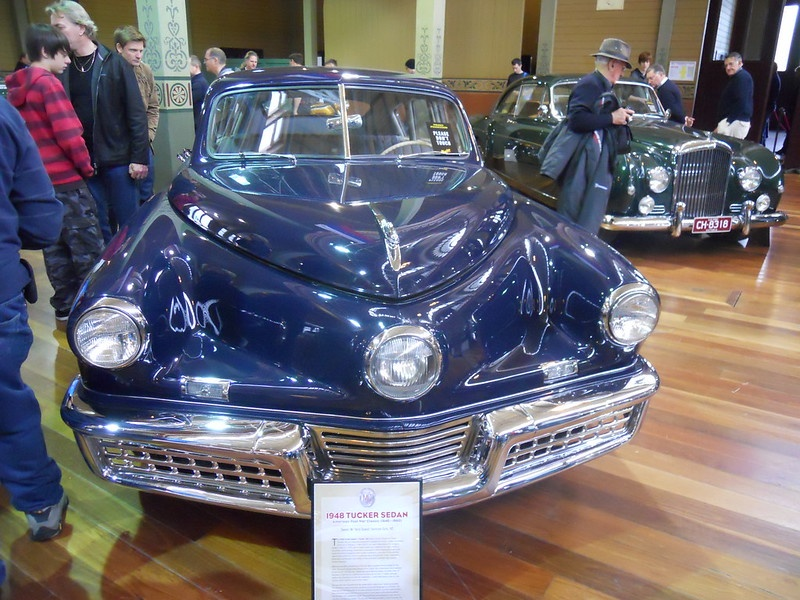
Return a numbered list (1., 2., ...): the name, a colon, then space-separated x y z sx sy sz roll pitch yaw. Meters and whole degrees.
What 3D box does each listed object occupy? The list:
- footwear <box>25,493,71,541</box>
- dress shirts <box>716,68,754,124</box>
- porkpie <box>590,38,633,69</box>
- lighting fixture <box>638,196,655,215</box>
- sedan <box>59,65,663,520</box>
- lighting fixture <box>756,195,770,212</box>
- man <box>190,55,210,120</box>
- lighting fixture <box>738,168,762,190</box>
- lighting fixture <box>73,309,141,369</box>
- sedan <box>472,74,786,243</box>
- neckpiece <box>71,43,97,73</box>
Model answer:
1. footwear: -1.510 0.904 2.293 0.115 0.138 0.309 -1 15 -24
2. dress shirts: 5.005 -3.015 7.972 0.478 0.762 0.853 4 15 22
3. porkpie: 1.742 -2.017 4.361 0.251 0.194 0.426 6 25 17
4. lighting fixture: 2.468 -0.938 5.370 0.153 0.185 0.072 7 1 -16
5. sedan: -0.377 -0.616 3.649 2.386 1.671 3.975 -3 26 -11
6. lighting fixture: 3.853 -1.026 5.669 0.109 0.119 0.196 -9 23 -3
7. man: -2.819 -2.862 7.330 0.272 0.811 0.257 -24 52 -38
8. lighting fixture: 3.677 -1.266 5.610 0.262 0.245 0.090 -9 24 -16
9. lighting fixture: -1.080 0.139 1.970 0.229 0.213 0.091 0 23 3
10. sedan: 2.271 -1.667 6.772 2.093 1.534 3.644 -9 23 -24
11. neckpiece: -2.425 -1.822 4.086 0.153 0.199 0.073 6 47 -11
